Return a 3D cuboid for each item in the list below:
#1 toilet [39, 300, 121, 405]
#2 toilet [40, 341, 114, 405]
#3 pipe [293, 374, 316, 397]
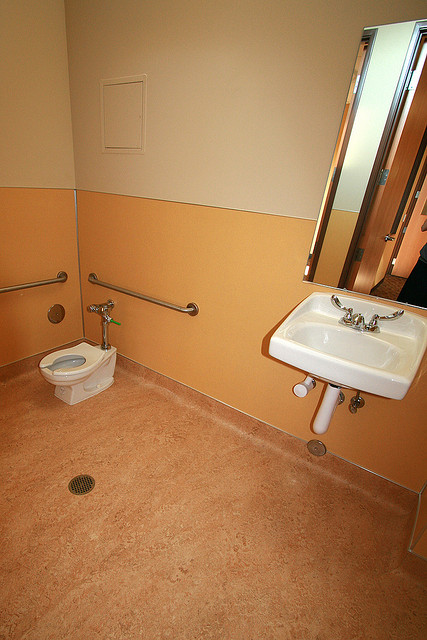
[{"bbox_3d":[-0.703,0.168,2.302,0.251,0.500,0.413,20,27,34],"label":"toilet"},{"bbox_3d":[-0.716,0.261,2.319,0.259,0.232,0.363,22,29,32],"label":"toilet"},{"bbox_3d":[0.345,0.246,1.675,0.059,0.098,0.089,4,10,29],"label":"pipe"}]
